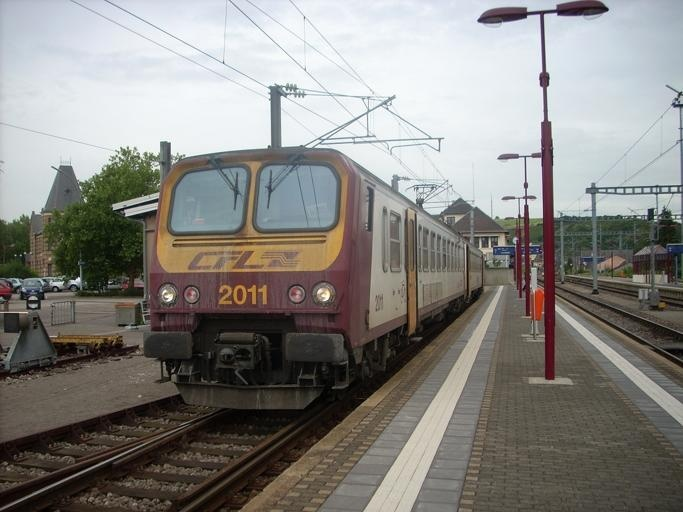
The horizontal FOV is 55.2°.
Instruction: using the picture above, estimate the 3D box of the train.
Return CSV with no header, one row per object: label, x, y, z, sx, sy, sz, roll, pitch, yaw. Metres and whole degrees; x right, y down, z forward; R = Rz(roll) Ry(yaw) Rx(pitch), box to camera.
train,-0.174,0.400,11.523,2.663,3.639,6.102,-3,-1,29
